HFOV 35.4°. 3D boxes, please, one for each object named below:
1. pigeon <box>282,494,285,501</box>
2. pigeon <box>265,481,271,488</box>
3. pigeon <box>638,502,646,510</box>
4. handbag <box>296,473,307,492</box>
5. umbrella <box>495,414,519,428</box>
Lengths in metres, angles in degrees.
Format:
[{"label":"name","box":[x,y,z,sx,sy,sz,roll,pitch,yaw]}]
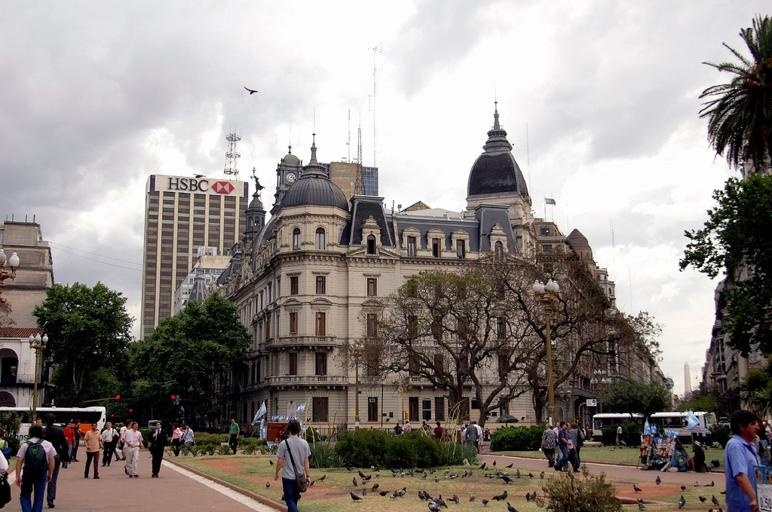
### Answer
[{"label":"pigeon","box":[-4.831,11.685,58.357,0.108,0.243,0.426,3,-18,-14]},{"label":"pigeon","box":[-6.327,12.491,66.058,0.314,0.380,0.384,3,-40,-3]},{"label":"pigeon","box":[12.928,12.618,60.885,0.406,0.359,0.660,-5,-18,11]},{"label":"handbag","box":[-3.992,10.935,58.239,0.579,0.717,0.422,6,-20,-21]},{"label":"umbrella","box":[11.495,15.983,113.872,1.903,1.480,1.844,-3,1,-6]}]
